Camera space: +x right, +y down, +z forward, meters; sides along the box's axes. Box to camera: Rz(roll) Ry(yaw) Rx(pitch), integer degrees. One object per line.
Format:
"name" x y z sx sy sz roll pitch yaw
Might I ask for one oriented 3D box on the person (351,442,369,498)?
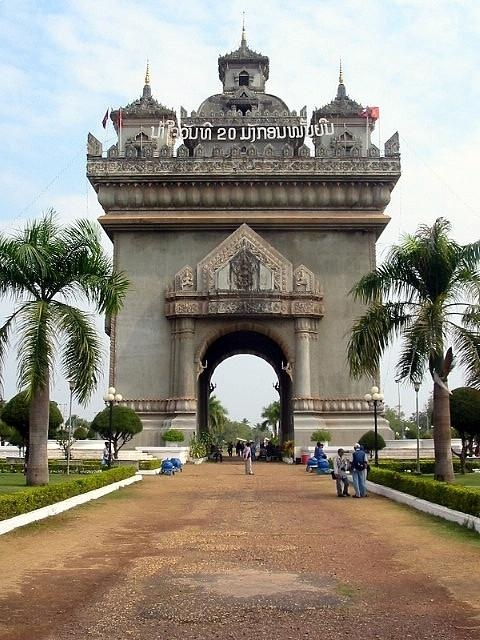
"person" 2.867 3.676 17.304 0.395 1.148 0.961 0 -8 10

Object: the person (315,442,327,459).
"person" 3.050 4.995 27.500 0.373 0.629 0.845 1 -8 5

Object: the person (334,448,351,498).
"person" 2.515 3.765 17.853 0.347 1.128 1.119 0 -8 7

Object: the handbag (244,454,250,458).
"handbag" 0.247 4.844 25.449 0.135 0.162 0.246 1 -8 3

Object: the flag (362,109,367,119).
"flag" 7.263 -12.129 41.837 0.289 0.683 0.910 0 -8 10

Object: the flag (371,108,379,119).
"flag" 7.798 -11.922 41.773 0.401 0.515 1.056 0 -9 14
